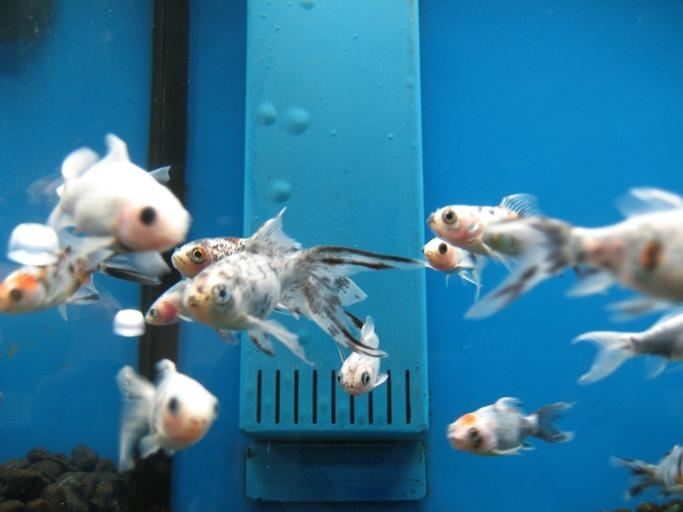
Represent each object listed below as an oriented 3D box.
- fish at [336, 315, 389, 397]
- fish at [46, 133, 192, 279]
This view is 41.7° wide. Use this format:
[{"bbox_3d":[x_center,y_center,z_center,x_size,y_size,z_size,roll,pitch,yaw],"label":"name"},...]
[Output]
[{"bbox_3d":[0.054,0.328,2.751,0.109,0.125,0.275,3,45,10],"label":"fish"},{"bbox_3d":[-0.584,-0.130,2.341,0.355,0.290,0.264,-2,-1,-16],"label":"fish"}]
